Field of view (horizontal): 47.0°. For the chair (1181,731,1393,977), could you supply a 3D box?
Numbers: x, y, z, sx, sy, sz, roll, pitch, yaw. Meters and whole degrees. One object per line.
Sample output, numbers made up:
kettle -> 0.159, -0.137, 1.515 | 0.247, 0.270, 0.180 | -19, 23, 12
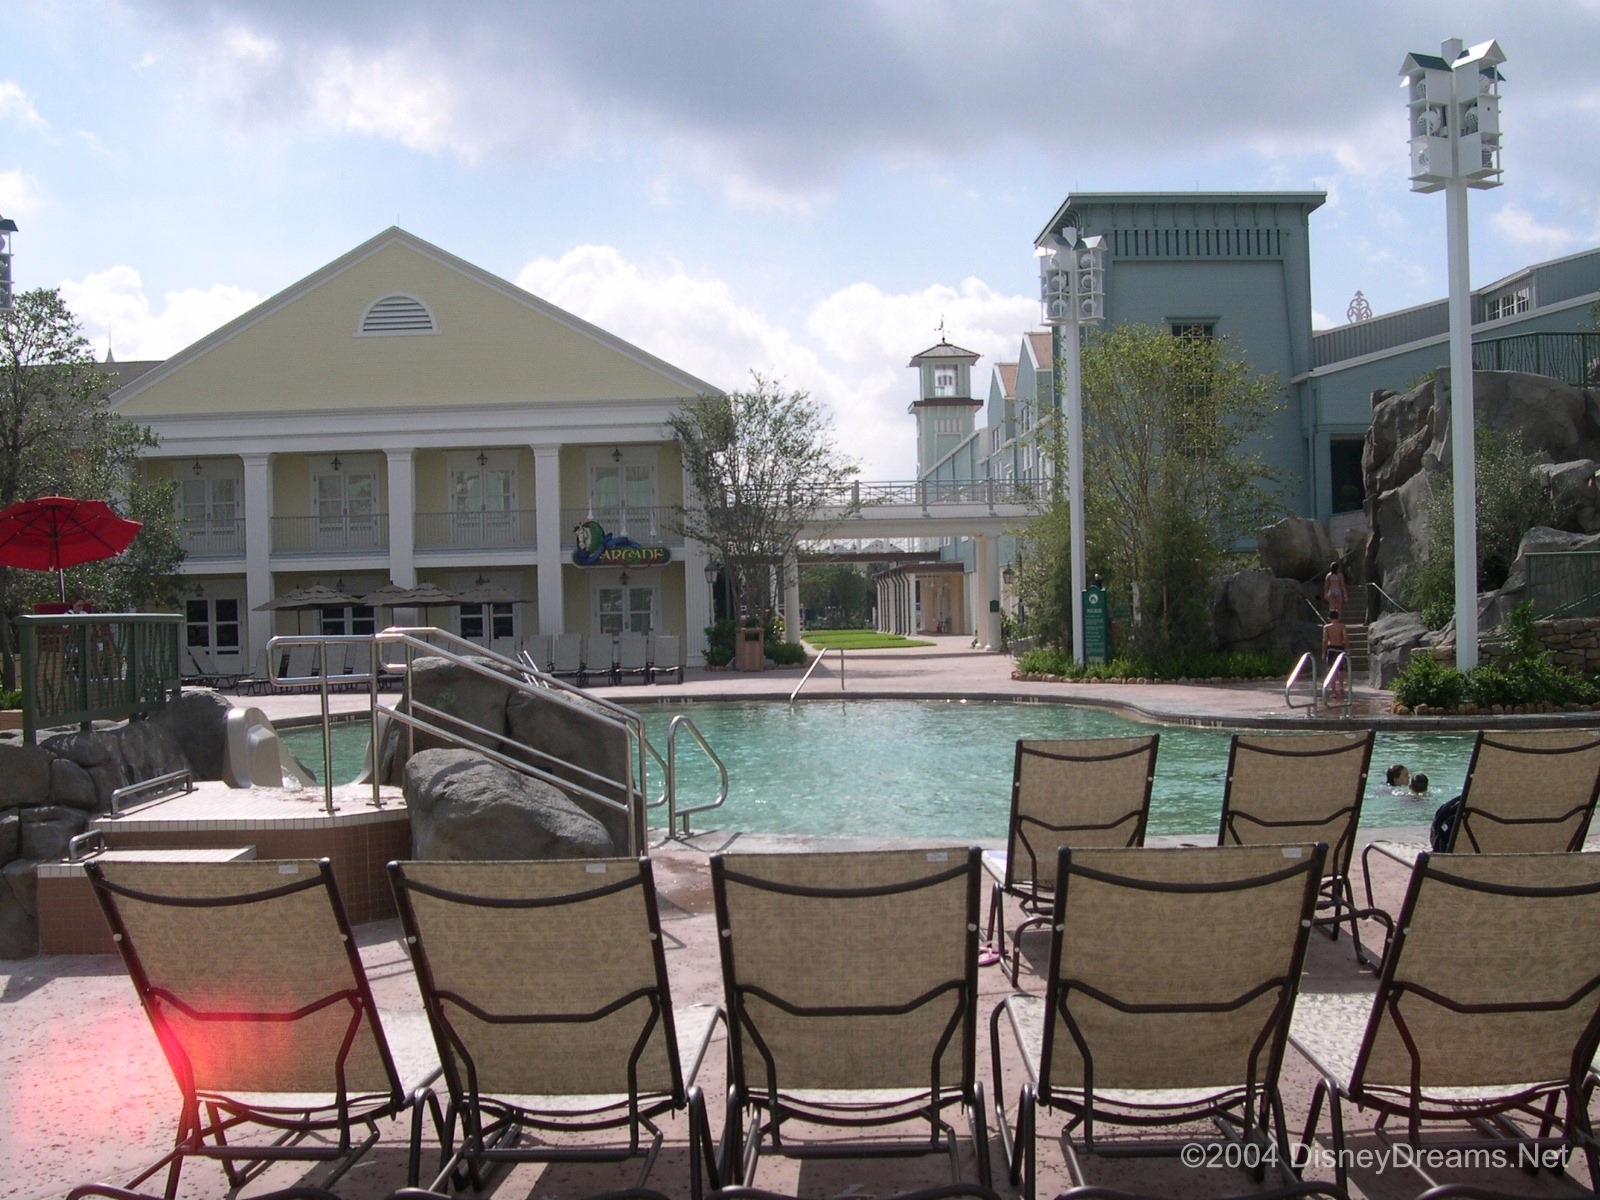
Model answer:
chair -> 2.821, 1.340, 10.321 | 0.952, 1.766, 1.165 | 1, -7, 2

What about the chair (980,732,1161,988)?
chair -> 1.486, 1.360, 10.456 | 0.918, 1.792, 1.182 | 2, -2, -1
